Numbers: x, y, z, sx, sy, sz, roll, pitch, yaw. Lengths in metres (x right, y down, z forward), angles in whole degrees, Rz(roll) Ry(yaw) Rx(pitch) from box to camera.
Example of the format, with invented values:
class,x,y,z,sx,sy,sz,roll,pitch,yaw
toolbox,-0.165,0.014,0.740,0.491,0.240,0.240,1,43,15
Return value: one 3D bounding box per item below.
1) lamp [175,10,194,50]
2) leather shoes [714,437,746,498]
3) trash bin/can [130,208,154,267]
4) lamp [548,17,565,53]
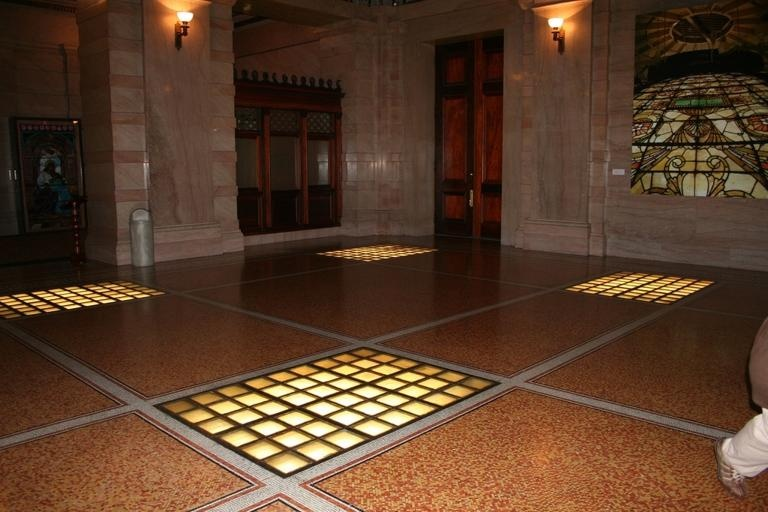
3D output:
class,x,y,z,sx,sy,sz,roll,pitch,yaw
lamp,-3.580,-4.065,9.003,0.366,0.644,0.401,-7,13,-31
leather shoes,2.026,1.214,2.893,0.129,0.299,0.147,-20,-9,0
trash bin/can,-4.237,-0.317,8.698,0.387,0.979,0.311,-6,12,-26
lamp,3.361,-4.242,9.622,0.252,0.628,0.275,7,13,33
